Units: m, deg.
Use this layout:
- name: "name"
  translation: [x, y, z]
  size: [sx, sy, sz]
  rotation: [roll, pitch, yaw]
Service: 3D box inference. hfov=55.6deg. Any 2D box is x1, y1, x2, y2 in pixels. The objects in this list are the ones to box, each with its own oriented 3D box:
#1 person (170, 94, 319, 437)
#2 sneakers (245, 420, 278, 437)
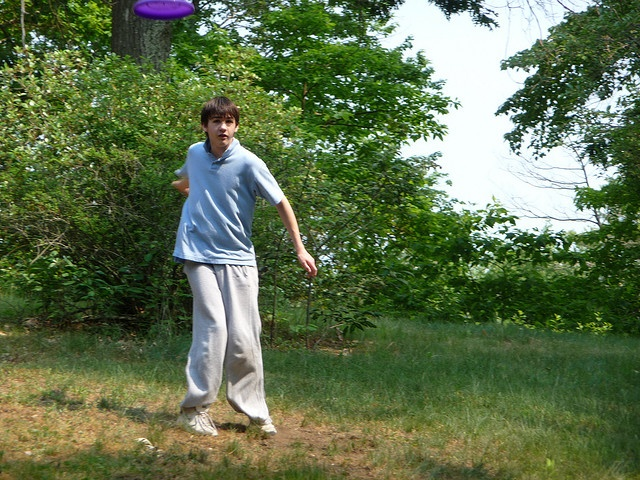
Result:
- name: "person"
  translation: [-0.766, 0.245, 5.665]
  size: [1.164, 3.151, 0.918]
  rotation: [3, 14, -10]
- name: "sneakers"
  translation: [-0.549, 1.775, 5.665]
  size: [0.292, 0.085, 0.138]
  rotation: [4, 22, -19]
